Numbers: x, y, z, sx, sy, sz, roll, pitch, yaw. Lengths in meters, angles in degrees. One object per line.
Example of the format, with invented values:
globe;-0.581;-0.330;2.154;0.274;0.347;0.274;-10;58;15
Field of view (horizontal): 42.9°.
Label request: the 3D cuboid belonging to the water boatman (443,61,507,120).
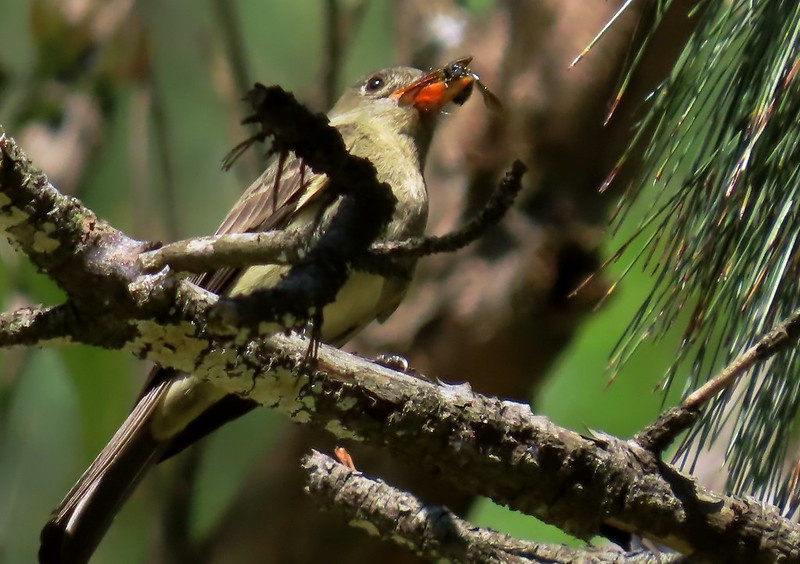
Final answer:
water boatman;0.222;-0.586;3.000;0.069;0.231;0.154;-42;-7;0
